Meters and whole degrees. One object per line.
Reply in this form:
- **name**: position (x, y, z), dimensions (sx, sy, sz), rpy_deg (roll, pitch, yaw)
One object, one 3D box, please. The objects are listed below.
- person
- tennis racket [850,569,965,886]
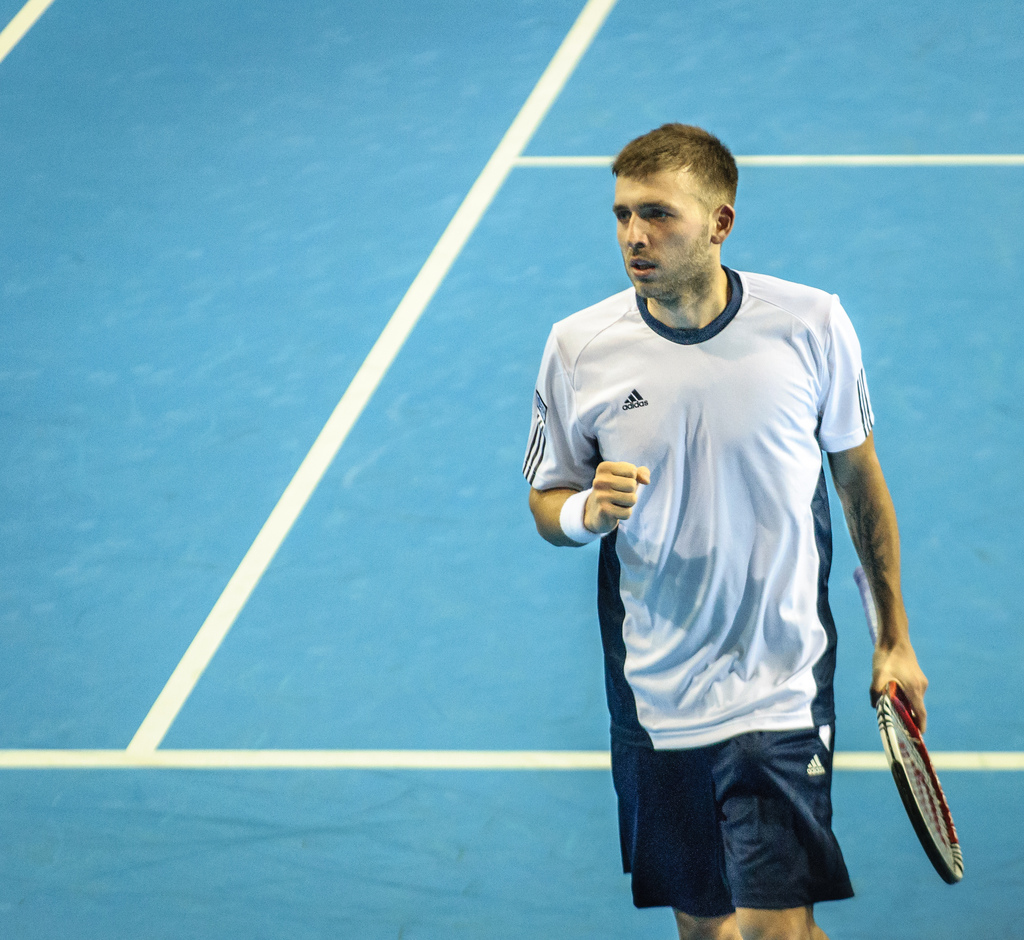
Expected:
- **person**: position (0.465, 0.166, 3.291), dimensions (0.872, 1.816, 0.718), rpy_deg (-9, -16, 17)
- **tennis racket**: position (1.035, 0.705, 3.693), dimensions (0.059, 0.869, 0.382), rpy_deg (-19, -55, 6)
